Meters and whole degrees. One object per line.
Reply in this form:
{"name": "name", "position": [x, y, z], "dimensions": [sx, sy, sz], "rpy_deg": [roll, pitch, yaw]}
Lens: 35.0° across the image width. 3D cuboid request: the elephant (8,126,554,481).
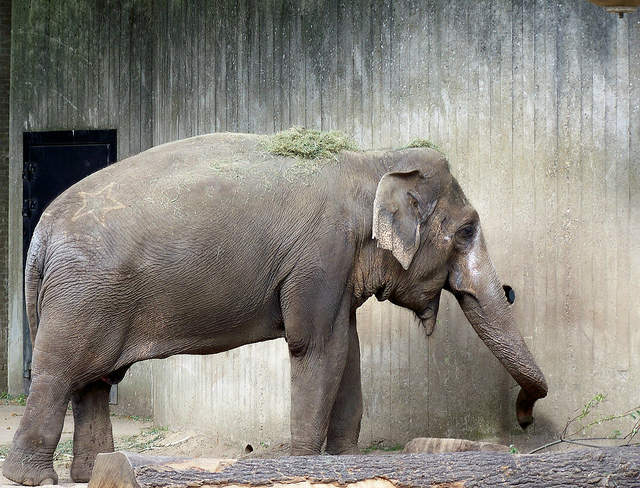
{"name": "elephant", "position": [-0.533, 0.308, 8.567], "dimensions": [4.555, 3.472, 1.950], "rpy_deg": [-2, 2, -9]}
